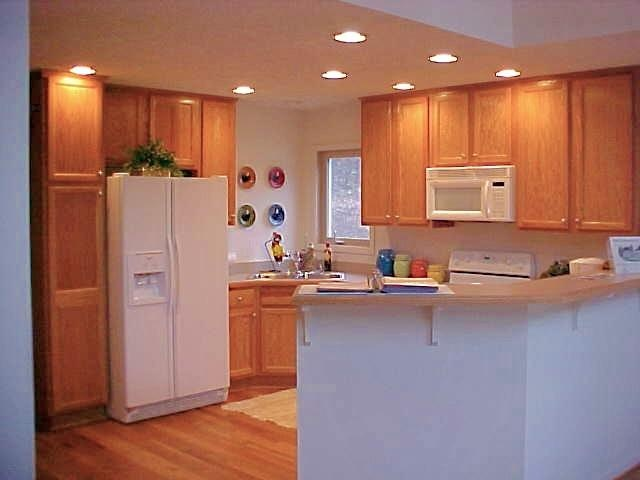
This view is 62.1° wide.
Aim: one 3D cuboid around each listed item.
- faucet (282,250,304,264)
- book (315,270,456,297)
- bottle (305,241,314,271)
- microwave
[{"bbox_3d":[-0.284,0.171,5.888,0.266,0.078,0.710,0,0,2],"label":"faucet"},{"bbox_3d":[0.333,0.214,2.837,0.712,0.110,0.328,-1,6,5],"label":"book"},{"bbox_3d":[-0.123,0.183,5.662,0.114,0.261,0.236,-1,6,8],"label":"bottle"},{"bbox_3d":[1.314,-0.401,4.630,0.481,0.462,0.742,0,0,-45],"label":"microwave"}]
